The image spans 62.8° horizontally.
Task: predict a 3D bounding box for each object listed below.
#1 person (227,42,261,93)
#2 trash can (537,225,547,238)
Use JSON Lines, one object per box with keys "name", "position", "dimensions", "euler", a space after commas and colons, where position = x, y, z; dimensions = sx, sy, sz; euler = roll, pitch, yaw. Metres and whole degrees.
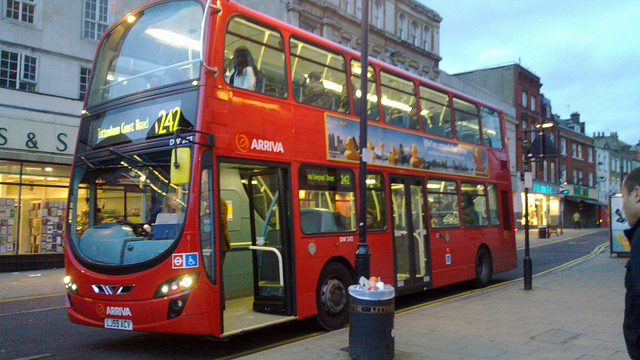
{"name": "person", "position": [-2.189, -3.157, 14.632], "dimensions": [0.931, 1.336, 0.450], "euler": [-5, 8, -31]}
{"name": "trash can", "position": [17.234, 4.081, 41.400], "dimensions": [0.860, 0.853, 0.771], "euler": [1, -7, -4]}
